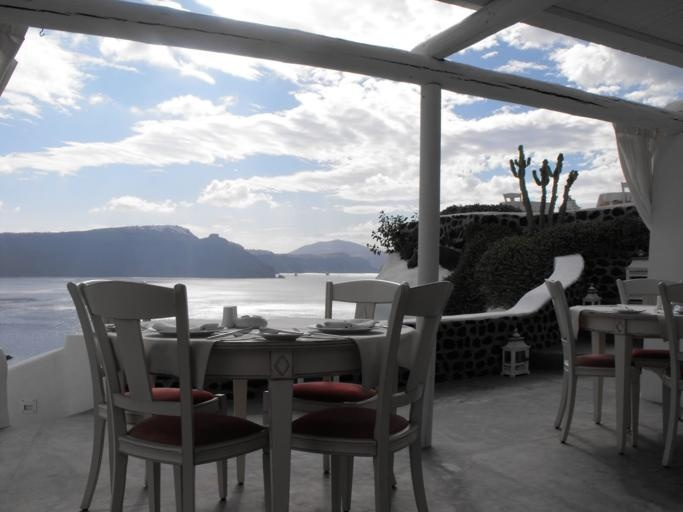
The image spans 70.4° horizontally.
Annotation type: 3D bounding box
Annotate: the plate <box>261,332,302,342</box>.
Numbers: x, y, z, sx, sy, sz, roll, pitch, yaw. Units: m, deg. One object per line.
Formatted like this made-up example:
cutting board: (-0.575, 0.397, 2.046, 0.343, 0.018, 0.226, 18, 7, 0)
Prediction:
plate: (-0.250, 0.358, 2.003, 0.164, 0.031, 0.128, 0, -2, -4)

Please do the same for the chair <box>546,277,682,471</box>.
chair: (1.907, 0.820, 3.474, 0.828, 1.229, 0.821, 0, -1, 22)
